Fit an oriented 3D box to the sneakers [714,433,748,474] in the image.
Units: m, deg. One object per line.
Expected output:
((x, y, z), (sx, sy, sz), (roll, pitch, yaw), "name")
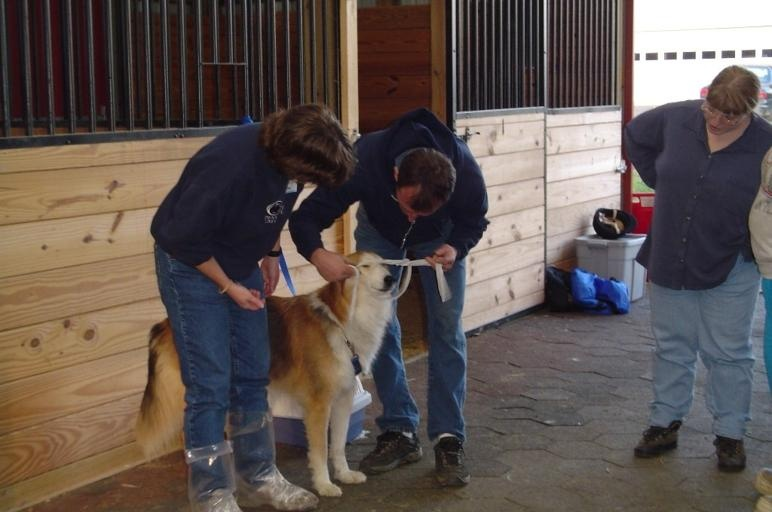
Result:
((2.071, 1.196, 3.821), (0.180, 0.155, 0.182), (7, 16, 28), "sneakers")

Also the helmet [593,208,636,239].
((2.567, -0.365, 7.147), (0.428, 0.184, 0.313), (6, 51, 17), "helmet")

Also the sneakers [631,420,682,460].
((1.746, 1.158, 4.039), (0.386, 0.249, 0.133), (-1, 5, -28), "sneakers")

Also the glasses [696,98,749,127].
((1.917, -0.801, 3.596), (0.209, 0.147, 0.099), (2, 14, 11), "glasses")

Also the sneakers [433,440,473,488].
((0.396, 1.216, 3.689), (0.133, 0.143, 0.326), (0, 3, -3), "sneakers")

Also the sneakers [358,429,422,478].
((0.043, 1.176, 3.901), (0.446, 0.210, 0.157), (-5, 20, -39), "sneakers")

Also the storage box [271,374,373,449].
((-0.467, 1.018, 4.052), (0.596, 0.546, 0.425), (-4, 9, 27), "storage box")

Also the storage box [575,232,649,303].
((2.585, 0.143, 7.243), (0.660, 0.709, 0.827), (1, 8, 32), "storage box")

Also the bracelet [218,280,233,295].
((-0.777, 0.149, 3.073), (0.077, 0.034, 0.096), (-3, 0, -22), "bracelet")
